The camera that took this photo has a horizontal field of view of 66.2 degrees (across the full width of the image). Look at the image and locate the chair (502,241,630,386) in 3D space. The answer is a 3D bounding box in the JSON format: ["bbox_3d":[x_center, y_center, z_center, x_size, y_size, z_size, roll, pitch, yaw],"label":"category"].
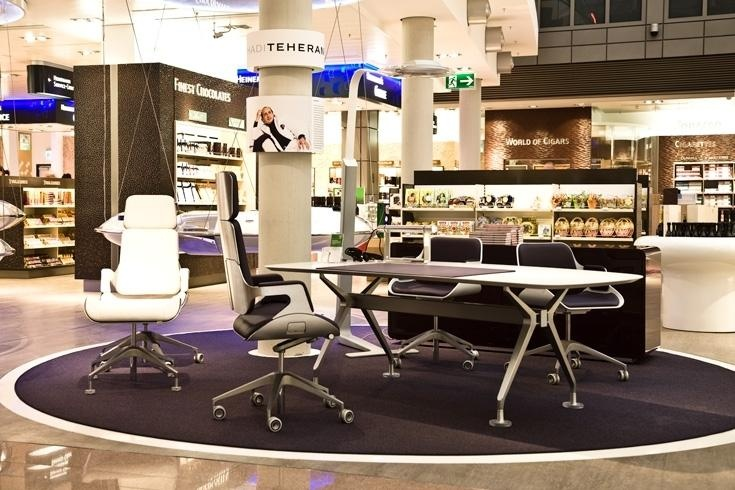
[{"bbox_3d":[1.916,0.606,5.383,0.953,1.140,1.030,0,5,-36],"label":"chair"}]

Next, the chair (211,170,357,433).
[{"bbox_3d":[-0.660,0.436,4.560,1.197,1.703,1.130,4,-3,-36],"label":"chair"}]

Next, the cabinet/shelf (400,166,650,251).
[{"bbox_3d":[2.493,-0.641,9.068,3.482,1.196,0.559,2,6,19],"label":"cabinet/shelf"}]

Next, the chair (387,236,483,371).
[{"bbox_3d":[0.720,0.536,5.769,0.955,1.239,0.953,1,-3,42],"label":"chair"}]
